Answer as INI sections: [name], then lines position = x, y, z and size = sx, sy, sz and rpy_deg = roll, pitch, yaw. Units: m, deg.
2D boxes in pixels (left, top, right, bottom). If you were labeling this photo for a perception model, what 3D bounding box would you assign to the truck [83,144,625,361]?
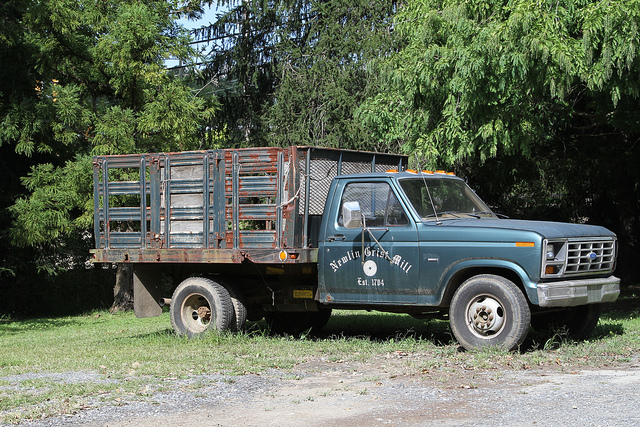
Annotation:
[truck]
position = 0.482, 0.540, 11.395
size = 9.210, 3.808, 2.630
rpy_deg = -2, -1, 25
